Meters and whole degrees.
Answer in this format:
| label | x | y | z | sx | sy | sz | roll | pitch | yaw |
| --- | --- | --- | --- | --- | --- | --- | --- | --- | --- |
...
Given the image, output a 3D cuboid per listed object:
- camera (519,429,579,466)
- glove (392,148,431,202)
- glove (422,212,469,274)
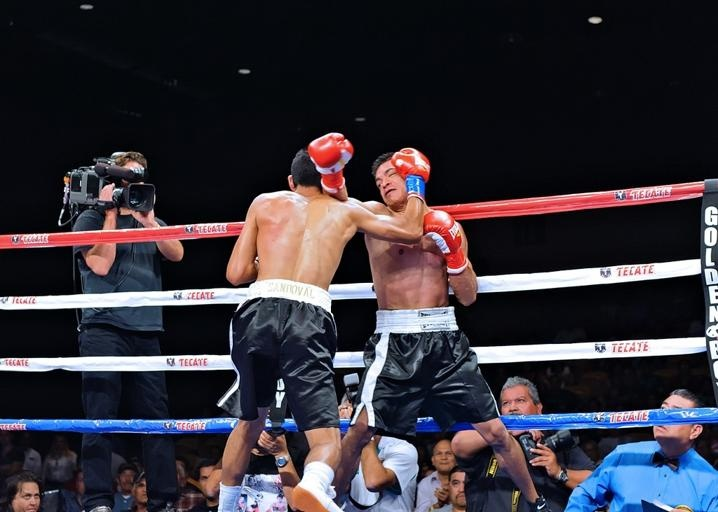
| label | x | y | z | sx | sy | sz | roll | pitch | yaw |
| --- | --- | --- | --- | --- | --- | --- | --- | --- | --- |
| camera | 1.514 | 1.506 | 6.363 | 0.318 | 0.168 | 0.283 | -9 | 17 | -7 |
| glove | 0.377 | -0.648 | 6.341 | 0.318 | 0.398 | 0.198 | 8 | -21 | -38 |
| glove | 0.715 | -0.087 | 6.219 | 0.204 | 0.440 | 0.445 | -21 | 38 | -10 |
